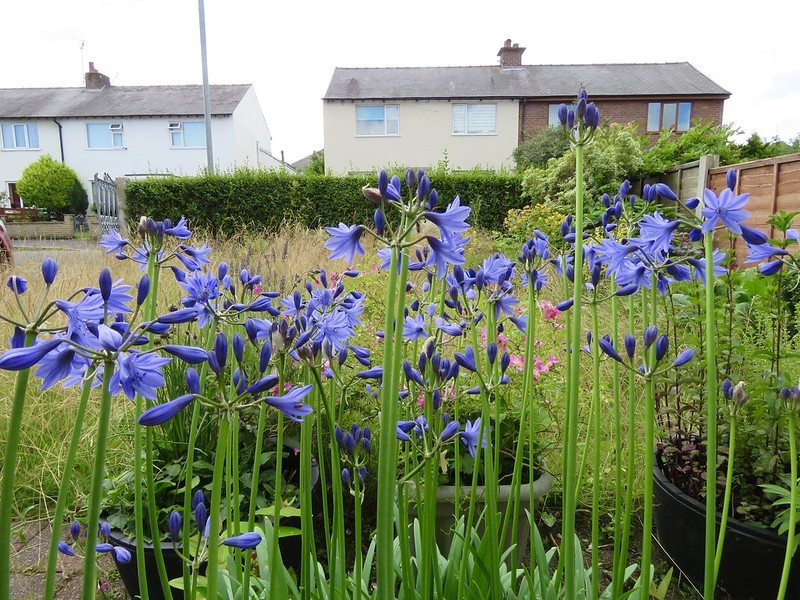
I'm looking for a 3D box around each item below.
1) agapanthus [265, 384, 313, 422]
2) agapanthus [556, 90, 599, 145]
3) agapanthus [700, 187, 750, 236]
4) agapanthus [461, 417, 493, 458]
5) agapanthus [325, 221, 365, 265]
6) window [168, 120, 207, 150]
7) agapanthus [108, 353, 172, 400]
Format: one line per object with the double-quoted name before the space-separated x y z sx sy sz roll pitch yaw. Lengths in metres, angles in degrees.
"agapanthus" -0.409 0.370 2.855 0.137 0.114 0.158 9 -32 -5
"agapanthus" 0.780 -0.787 3.304 0.163 0.278 0.313 2 3 18
"agapanthus" 1.359 -0.374 3.199 0.225 0.195 0.230 2 3 5
"agapanthus" 0.340 0.619 3.478 0.170 0.151 0.155 11 -7 29
"agapanthus" -0.224 -0.232 3.087 0.157 0.163 0.343 1 3 -6
"window" -8.419 -6.594 30.165 1.356 1.181 0.529 0 3 -20
"agapanthus" -0.946 0.277 2.758 0.199 0.186 0.190 0 3 -25
